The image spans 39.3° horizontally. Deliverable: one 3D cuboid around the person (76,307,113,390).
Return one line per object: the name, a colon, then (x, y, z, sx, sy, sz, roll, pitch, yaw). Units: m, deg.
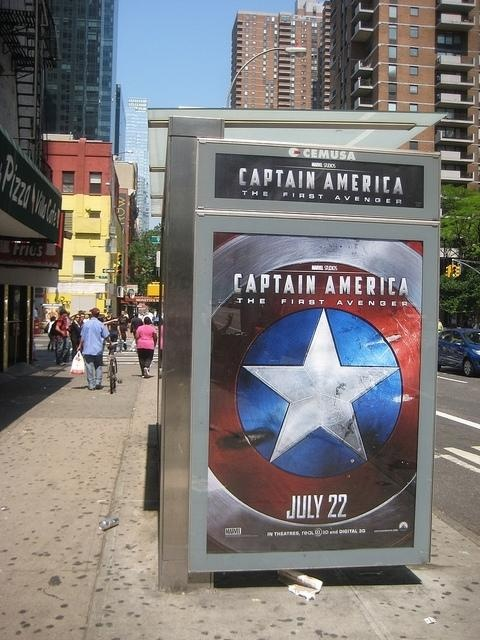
person: (-3.043, 0.579, 13.903, 0.586, 1.605, 1.240, 2, 0, -11)

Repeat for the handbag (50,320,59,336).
handbag: (-5.908, 0.260, 21.282, 0.115, 0.481, 0.507, 11, 36, -13)

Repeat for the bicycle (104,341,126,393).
bicycle: (-2.675, 0.979, 13.826, 0.546, 0.797, 1.314, 0, 11, -12)

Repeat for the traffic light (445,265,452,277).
traffic light: (12.958, -3.089, 41.918, 0.259, 0.779, 2.948, 2, 0, 18)

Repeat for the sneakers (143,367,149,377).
sneakers: (-2.337, 1.316, 16.579, 0.088, 0.296, 0.189, 0, 18, 1)
